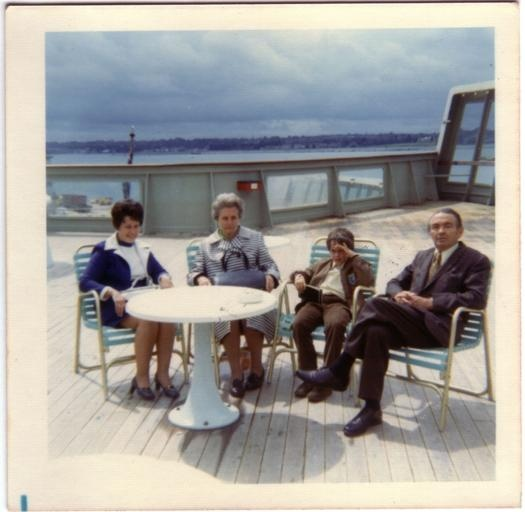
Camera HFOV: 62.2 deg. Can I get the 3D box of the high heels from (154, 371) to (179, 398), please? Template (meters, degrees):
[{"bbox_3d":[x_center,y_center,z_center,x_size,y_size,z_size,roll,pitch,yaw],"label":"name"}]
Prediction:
[{"bbox_3d":[-0.656,0.924,3.091,0.255,0.134,0.086,3,-1,34],"label":"high heels"}]

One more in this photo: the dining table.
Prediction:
[{"bbox_3d":[-0.370,0.650,2.701,0.942,0.701,0.858,-7,5,9],"label":"dining table"}]

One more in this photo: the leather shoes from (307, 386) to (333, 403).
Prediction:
[{"bbox_3d":[0.381,0.928,2.915,0.192,0.082,0.068,5,-4,-42],"label":"leather shoes"}]

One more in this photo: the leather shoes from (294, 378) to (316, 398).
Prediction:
[{"bbox_3d":[0.337,0.916,3.050,0.079,0.101,0.238,-3,-1,41],"label":"leather shoes"}]

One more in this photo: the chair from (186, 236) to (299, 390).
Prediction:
[{"bbox_3d":[-0.163,0.576,3.321,0.876,0.905,1.095,7,44,-17],"label":"chair"}]

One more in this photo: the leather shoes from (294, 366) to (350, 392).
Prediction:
[{"bbox_3d":[0.378,0.757,2.757,0.362,0.145,0.133,8,3,7],"label":"leather shoes"}]

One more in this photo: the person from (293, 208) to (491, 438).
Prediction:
[{"bbox_3d":[0.861,0.275,2.670,0.994,1.088,0.586,-6,8,-26],"label":"person"}]

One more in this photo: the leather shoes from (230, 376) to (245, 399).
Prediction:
[{"bbox_3d":[-0.170,0.910,2.999,0.131,0.115,0.297,1,-2,-2],"label":"leather shoes"}]
